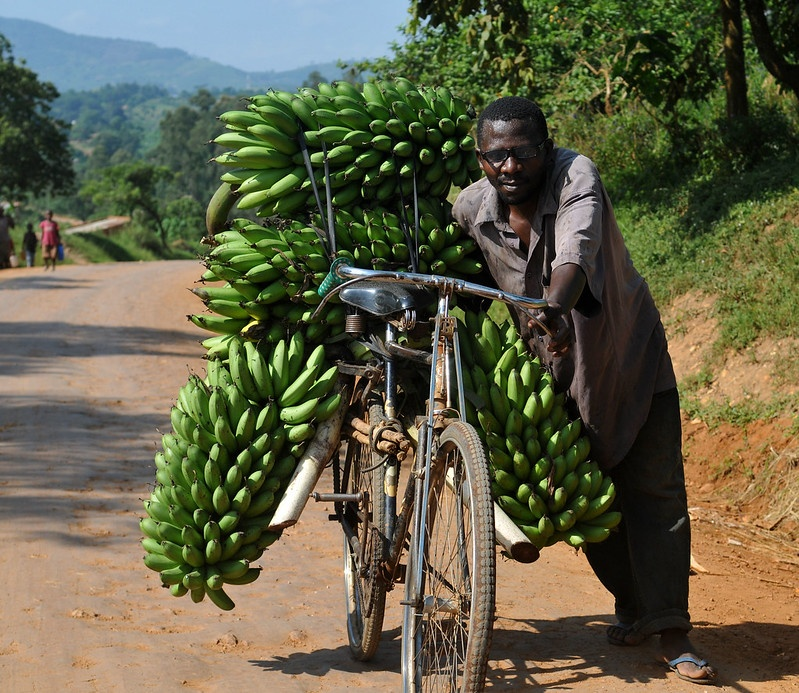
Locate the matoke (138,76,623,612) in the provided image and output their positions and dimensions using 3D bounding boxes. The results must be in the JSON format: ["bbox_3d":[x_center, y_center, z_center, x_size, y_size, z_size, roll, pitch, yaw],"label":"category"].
[{"bbox_3d":[-0.455,0.356,7.586,2.605,3.061,1.108,-18,-20,-8],"label":"matoke"}]

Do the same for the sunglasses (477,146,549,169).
[{"bbox_3d":[0.588,-1.021,6.273,0.325,0.135,0.104,3,12,3],"label":"sunglasses"}]

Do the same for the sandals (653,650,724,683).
[{"bbox_3d":[1.614,1.771,6.461,0.119,0.075,0.288,1,13,-34],"label":"sandals"}]

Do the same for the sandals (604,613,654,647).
[{"bbox_3d":[1.321,1.686,6.928,0.361,0.135,0.119,13,-15,-20],"label":"sandals"}]
